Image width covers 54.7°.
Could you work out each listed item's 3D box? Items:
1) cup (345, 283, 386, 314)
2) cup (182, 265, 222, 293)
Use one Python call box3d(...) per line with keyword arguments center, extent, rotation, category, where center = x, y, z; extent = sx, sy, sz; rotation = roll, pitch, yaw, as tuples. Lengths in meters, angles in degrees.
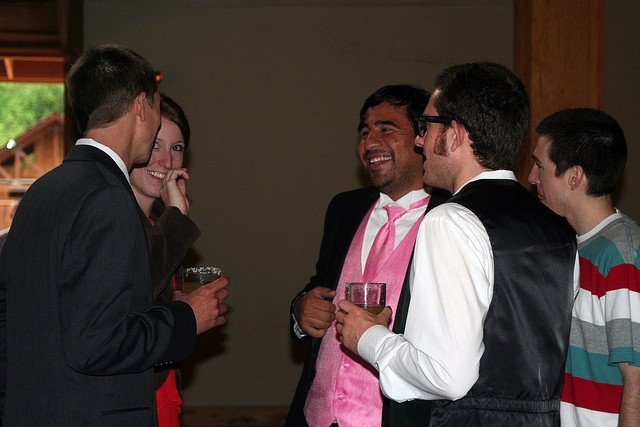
box3d(center=(0.225, 0.414, 2.979), extent=(0.167, 0.172, 0.154), rotation=(1, -4, 0), category="cup")
box3d(center=(-0.624, 0.338, 3.200), extent=(0.152, 0.077, 0.139), rotation=(-3, -3, 0), category="cup")
